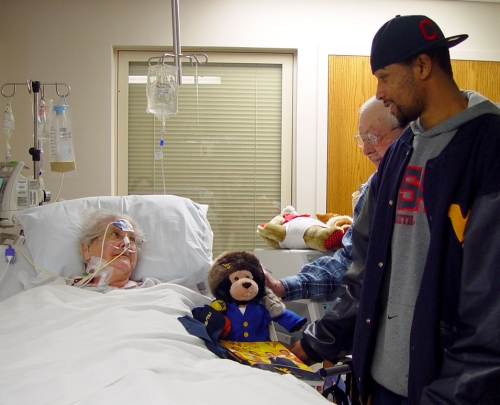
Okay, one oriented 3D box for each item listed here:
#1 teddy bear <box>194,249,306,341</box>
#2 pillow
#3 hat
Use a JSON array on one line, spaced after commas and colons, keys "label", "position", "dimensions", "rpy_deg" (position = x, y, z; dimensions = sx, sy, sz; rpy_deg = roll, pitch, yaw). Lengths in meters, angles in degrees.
[{"label": "teddy bear", "position": [-0.007, 0.423, 1.895], "dimensions": [0.448, 0.418, 0.209], "rpy_deg": [-2, -6, 6]}, {"label": "pillow", "position": [-0.714, 0.170, 2.464], "dimensions": [0.636, 0.178, 0.643], "rpy_deg": [2, 15, -11]}, {"label": "hat", "position": [0.558, -0.560, 1.522], "dimensions": [0.341, 0.158, 0.242], "rpy_deg": [-9, 21, 24]}]
